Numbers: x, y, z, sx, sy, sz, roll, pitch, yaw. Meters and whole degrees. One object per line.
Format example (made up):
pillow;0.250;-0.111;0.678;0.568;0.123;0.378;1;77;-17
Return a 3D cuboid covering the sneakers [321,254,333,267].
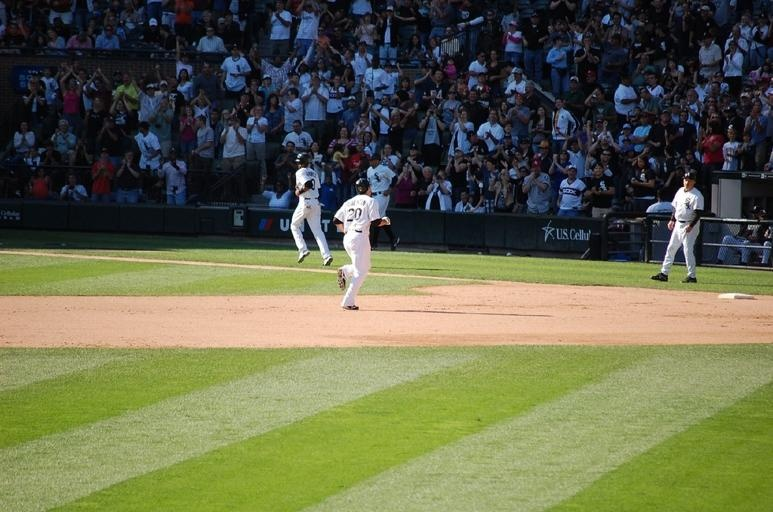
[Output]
sneakers;-1.354;0.101;32.068;0.214;0.237;0.559;-2;-9;-5

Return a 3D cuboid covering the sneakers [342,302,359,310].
sneakers;-0.703;1.023;28.128;0.364;0.143;0.119;0;7;-23

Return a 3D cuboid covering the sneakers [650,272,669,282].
sneakers;6.146;0.459;31.404;0.480;0.198;0.161;5;9;24

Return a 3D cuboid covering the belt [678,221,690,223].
belt;6.644;-0.785;31.021;0.265;0.074;0.055;6;6;43

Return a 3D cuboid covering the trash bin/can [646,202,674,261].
trash bin/can;6.830;-0.655;34.708;0.607;1.543;0.876;3;4;11

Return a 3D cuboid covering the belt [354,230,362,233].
belt;-0.551;-0.515;27.932;0.169;0.049;0.046;2;4;-1

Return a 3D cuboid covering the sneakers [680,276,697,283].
sneakers;6.884;0.509;31.398;0.309;0.155;0.299;3;4;9

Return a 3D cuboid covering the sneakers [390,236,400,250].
sneakers;0.221;-0.294;36.623;0.138;0.405;0.176;24;26;14

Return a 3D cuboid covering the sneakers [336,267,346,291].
sneakers;-0.882;0.458;28.327;0.216;0.465;0.169;2;-12;-19

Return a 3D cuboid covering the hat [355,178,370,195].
hat;-0.462;-1.495;28.329;0.280;0.330;0.330;4;39;5
